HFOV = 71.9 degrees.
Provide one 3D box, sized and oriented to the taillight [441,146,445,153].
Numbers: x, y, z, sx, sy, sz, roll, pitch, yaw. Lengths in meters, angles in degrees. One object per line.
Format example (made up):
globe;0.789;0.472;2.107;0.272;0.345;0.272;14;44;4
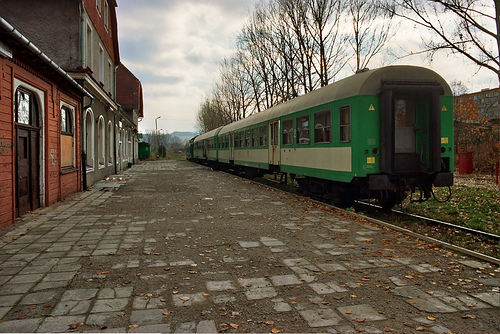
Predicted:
taillight;5.517;-0.504;9.888;0.184;0.177;0.043;8;5;38

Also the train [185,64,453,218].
train;1.328;-0.820;20.356;3.726;4.650;22.551;0;1;-13

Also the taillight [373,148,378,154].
taillight;3.514;-0.445;9.677;0.151;0.151;0.018;-2;9;-14
